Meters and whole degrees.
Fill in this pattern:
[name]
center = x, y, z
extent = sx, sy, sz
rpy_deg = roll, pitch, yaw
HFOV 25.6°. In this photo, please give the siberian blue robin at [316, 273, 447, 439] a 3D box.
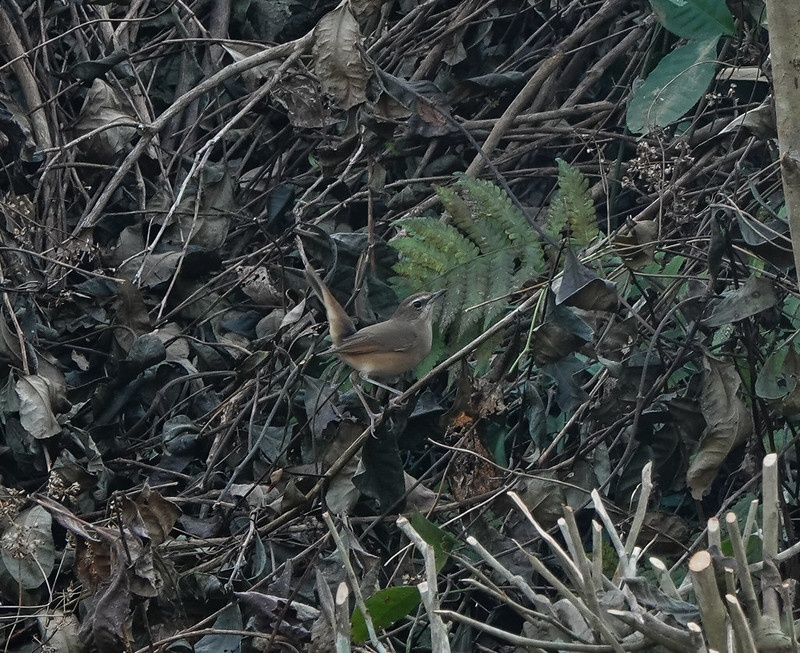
[siberian blue robin]
center = -0.140, 0.072, 8.094
extent = 0.662, 0.242, 0.722
rpy_deg = 0, 90, -14
